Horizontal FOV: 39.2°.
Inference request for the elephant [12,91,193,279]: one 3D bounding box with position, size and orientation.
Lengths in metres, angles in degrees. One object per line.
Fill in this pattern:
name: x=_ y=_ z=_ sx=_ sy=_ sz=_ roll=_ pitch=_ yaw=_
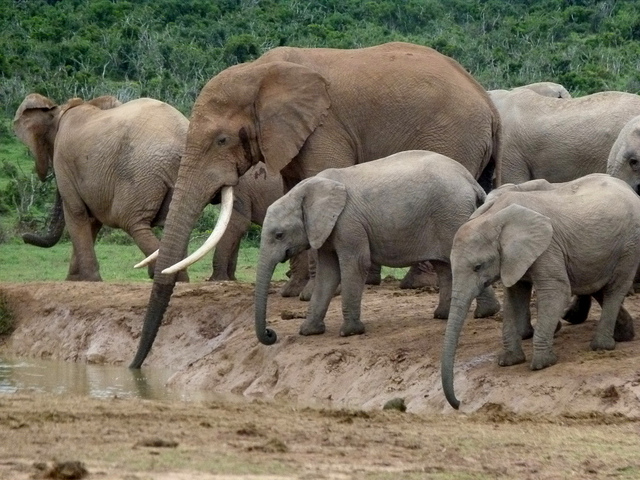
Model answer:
elephant: x=-2.966 y=-0.619 z=12.288 sx=4.022 sy=2.642 sz=1.719 roll=6 pitch=7 yaw=44
